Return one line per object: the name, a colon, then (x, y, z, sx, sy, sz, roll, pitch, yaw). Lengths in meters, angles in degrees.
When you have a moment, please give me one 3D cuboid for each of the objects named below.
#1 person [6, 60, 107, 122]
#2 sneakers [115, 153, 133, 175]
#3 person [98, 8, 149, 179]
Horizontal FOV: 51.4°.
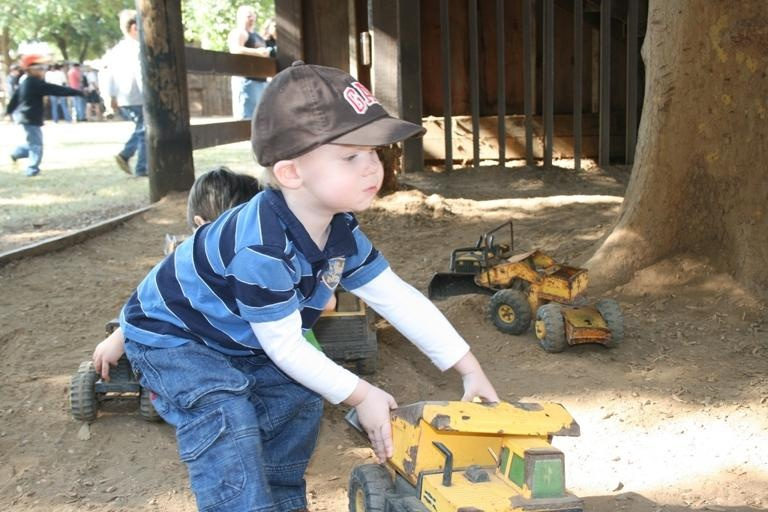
person: (-5.212, -2.428, 12.061, 0.929, 0.918, 0.849, -8, 15, -23)
sneakers: (-3.507, -1.198, 10.822, 0.142, 0.375, 0.122, -30, 19, -19)
person: (-3.536, -2.234, 11.406, 0.761, 2.216, 0.648, 5, 16, 7)
